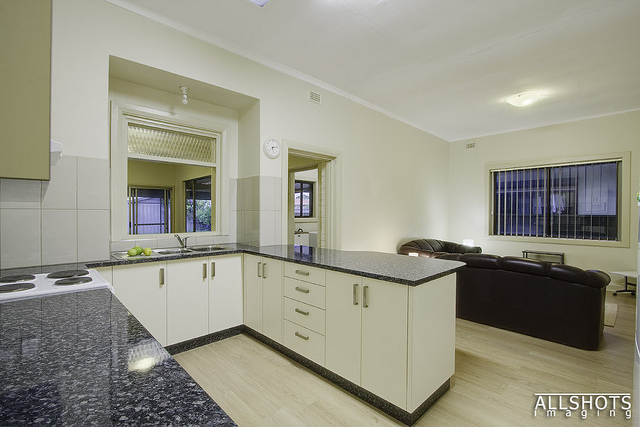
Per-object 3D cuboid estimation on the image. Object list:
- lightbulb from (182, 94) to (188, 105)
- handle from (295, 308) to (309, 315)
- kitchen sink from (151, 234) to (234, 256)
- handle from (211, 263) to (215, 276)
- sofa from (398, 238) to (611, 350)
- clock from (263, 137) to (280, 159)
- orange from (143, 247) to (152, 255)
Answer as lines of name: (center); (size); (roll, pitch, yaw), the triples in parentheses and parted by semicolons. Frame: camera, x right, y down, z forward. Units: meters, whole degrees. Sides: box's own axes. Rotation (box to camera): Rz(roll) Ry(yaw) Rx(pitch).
lightbulb: (-1.636, -1.368, 4.751); (0.078, 0.137, 0.045); (-1, 4, 21)
handle: (-0.182, 1.005, 4.015); (0.148, 0.036, 0.030); (8, 18, 42)
kitchen sink: (-1.489, 0.364, 4.692); (0.898, 0.194, 0.587); (2, 1, -33)
handle: (-1.211, 0.641, 4.471); (0.022, 0.127, 0.011); (2, 2, -33)
sofa: (2.664, 0.958, 5.452); (1.189, 0.843, 2.477); (-8, 4, -32)
clock: (-0.645, -0.855, 5.115); (0.034, 0.283, 0.287); (-3, 3, 38)
orange: (-1.870, 0.403, 4.301); (0.087, 0.066, 0.073); (8, -26, 46)
